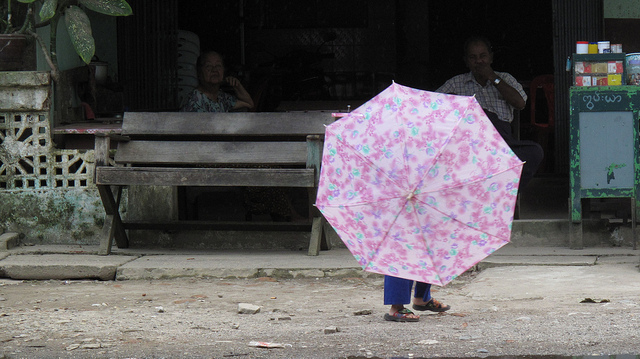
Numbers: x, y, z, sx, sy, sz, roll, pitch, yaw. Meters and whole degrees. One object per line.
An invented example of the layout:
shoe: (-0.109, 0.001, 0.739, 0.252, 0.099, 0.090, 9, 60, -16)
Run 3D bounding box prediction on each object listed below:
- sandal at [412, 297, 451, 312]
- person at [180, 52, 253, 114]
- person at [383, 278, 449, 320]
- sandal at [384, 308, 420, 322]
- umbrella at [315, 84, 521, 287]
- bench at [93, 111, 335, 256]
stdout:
sandal: (1.324, 1.491, 9.574, 0.453, 0.159, 0.149, 0, 1, 0)
person: (-1.611, -1.481, 12.636, 0.547, 0.799, 1.077, -2, 1, 25)
person: (1.019, 1.419, 9.386, 0.326, 0.366, 0.950, -27, -11, 37)
sandal: (0.933, 1.575, 9.356, 0.354, 0.115, 0.149, -2, -2, 16)
umbrella: (1.204, -0.041, 9.851, 2.423, 2.171, 1.578, 30, 8, -2)
bench: (-1.513, 0.051, 12.076, 3.167, 1.811, 2.111, -2, 1, 2)
